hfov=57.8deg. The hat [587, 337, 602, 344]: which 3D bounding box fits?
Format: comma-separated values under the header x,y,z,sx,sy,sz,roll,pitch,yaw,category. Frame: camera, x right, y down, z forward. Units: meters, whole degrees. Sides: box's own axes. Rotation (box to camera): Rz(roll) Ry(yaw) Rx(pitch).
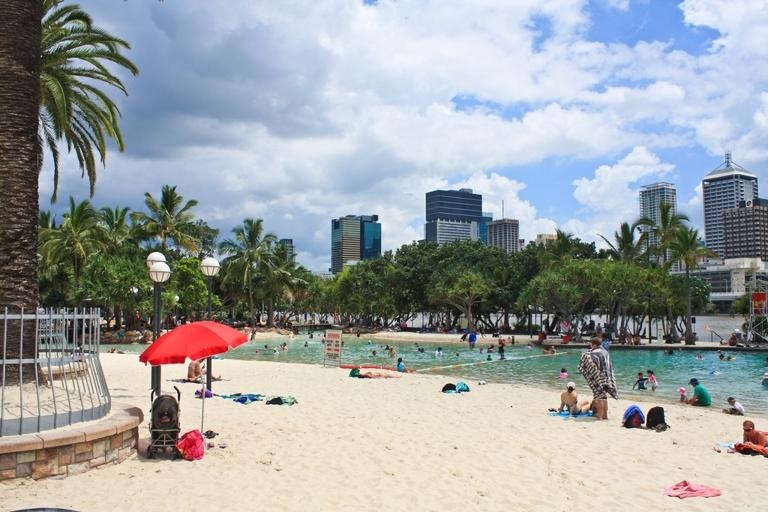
x,y,z,sx,sy,sz,roll,pitch,yaw,category
7.446,2.954,24.494,0.282,0.276,0.352,6,2,-23,hat
